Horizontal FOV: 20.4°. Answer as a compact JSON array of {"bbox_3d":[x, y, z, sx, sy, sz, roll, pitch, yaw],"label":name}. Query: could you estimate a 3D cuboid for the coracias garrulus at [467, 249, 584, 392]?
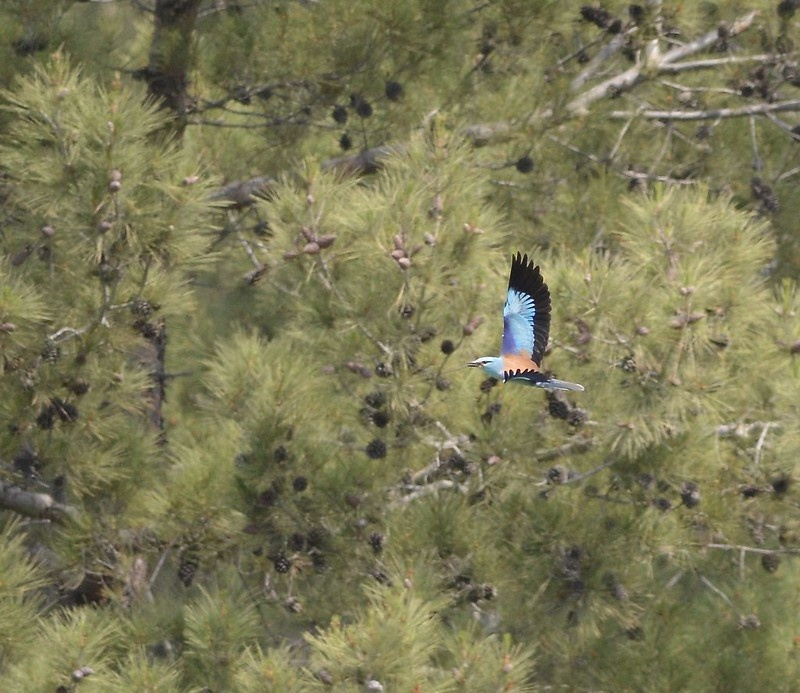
[{"bbox_3d":[0.644,-0.099,11.554,0.509,0.427,0.922,-1,71,9],"label":"coracias garrulus"}]
